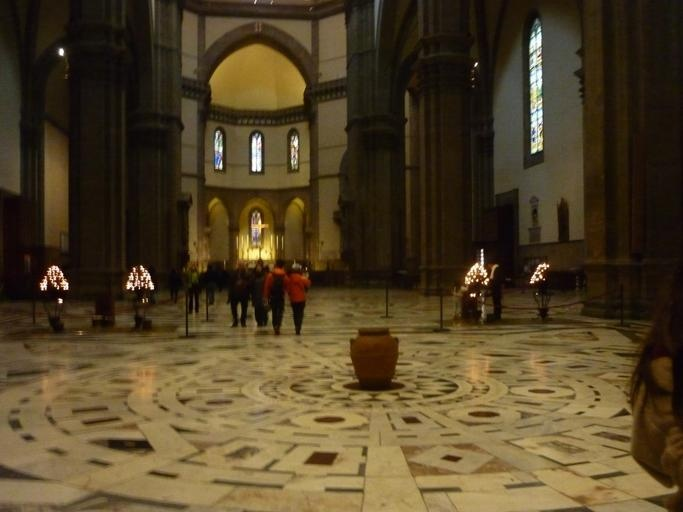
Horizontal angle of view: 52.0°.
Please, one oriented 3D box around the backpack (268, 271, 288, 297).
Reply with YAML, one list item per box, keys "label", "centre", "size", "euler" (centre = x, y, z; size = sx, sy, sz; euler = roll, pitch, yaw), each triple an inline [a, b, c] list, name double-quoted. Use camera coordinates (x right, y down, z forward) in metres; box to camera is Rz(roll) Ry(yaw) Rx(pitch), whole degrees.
- label: "backpack"
  centre: [-1.405, 0.641, 15.462]
  size: [0.427, 0.565, 0.275]
  euler: [2, -9, -11]
